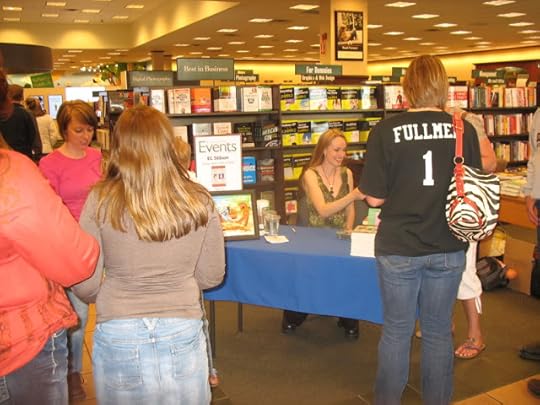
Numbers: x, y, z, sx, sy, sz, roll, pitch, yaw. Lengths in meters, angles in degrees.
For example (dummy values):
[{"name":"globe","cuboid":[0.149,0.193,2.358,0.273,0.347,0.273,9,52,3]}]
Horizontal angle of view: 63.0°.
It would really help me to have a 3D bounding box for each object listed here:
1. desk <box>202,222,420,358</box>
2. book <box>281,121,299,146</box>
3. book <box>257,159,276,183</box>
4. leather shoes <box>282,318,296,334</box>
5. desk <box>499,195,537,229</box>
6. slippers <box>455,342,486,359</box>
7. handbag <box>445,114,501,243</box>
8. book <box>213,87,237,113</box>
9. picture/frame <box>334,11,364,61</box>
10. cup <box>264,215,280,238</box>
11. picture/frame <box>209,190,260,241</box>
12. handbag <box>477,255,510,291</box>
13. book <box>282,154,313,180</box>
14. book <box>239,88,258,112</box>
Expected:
[{"name":"desk","cuboid":[0.204,0.503,2.882,0.909,0.427,0.663,6,19,23]},{"name":"book","cuboid":[0.263,-0.969,6.136,0.383,0.451,0.053,-3,4,-27]},{"name":"book","cuboid":[-0.064,-0.426,5.991,0.300,0.353,0.196,-4,14,-24]},{"name":"leather shoes","cuboid":[0.158,1.056,3.759,0.130,0.122,0.085,1,2,3]},{"name":"desk","cuboid":[2.428,0.083,4.312,0.197,0.206,0.351,-6,9,-28]},{"name":"slippers","cuboid":[1.501,1.092,3.299,0.215,0.079,0.103,0,-4,-34]},{"name":"handbag","cuboid":[1.033,-0.124,2.238,0.243,0.633,0.197,3,13,24]},{"name":"book","cuboid":[-0.566,-1.277,5.595,0.337,0.317,0.328,-1,6,-10]},{"name":"picture/frame","cuboid":[1.644,-3.418,9.068,0.756,1.025,0.404,-4,12,-9]},{"name":"cup","cuboid":[0.017,0.165,3.174,0.141,0.161,0.142,3,9,0]},{"name":"picture/frame","cuboid":[-0.229,0.078,2.780,0.337,0.319,0.023,-9,15,1]},{"name":"handbag","cuboid":[2.334,0.716,4.580,0.314,0.298,0.256,-11,6,45]},{"name":"book","cuboid":[0.391,-0.486,6.226,0.060,0.405,0.591,-1,2,-42]},{"name":"book","cuboid":[-0.293,-1.326,5.671,0.301,0.342,0.195,-1,11,-8]}]
